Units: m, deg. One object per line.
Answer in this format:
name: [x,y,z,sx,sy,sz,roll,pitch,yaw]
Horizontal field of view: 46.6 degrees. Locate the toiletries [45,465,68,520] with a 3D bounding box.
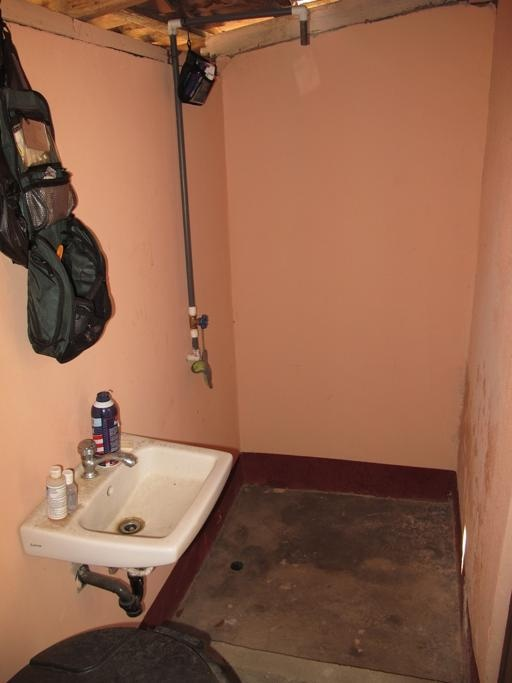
toiletries: [-0.490,0.371,1.449,0.055,0.125,0.049,-10,16,-20]

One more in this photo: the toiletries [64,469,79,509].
toiletries: [-0.468,0.377,1.486,0.040,0.098,0.039,-6,7,-25]

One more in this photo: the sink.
sink: [-0.301,0.438,1.621,0.446,0.163,0.541,1,15,20]

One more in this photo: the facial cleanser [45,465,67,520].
facial cleanser: [-0.490,0.371,1.449,0.055,0.125,0.049,-10,16,-20]

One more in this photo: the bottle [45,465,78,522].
bottle: [-0.479,0.378,1.457,0.052,0.129,0.096,1,18,-1]
